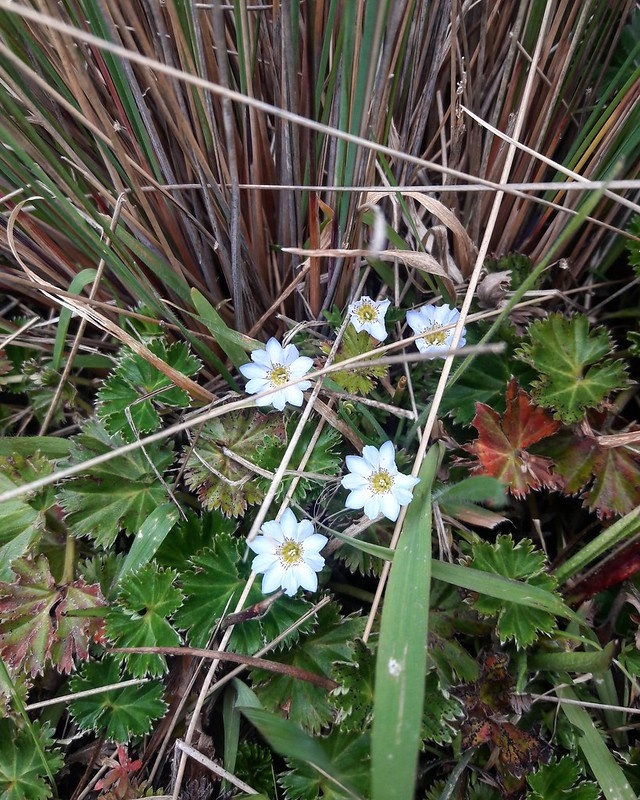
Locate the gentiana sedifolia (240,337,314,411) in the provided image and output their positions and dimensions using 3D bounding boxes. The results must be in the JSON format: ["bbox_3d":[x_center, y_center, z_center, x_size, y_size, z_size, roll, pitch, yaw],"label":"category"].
[{"bbox_3d":[-0.079,-0.048,1.338,0.156,0.061,0.146,-16,71,-2],"label":"gentiana sedifolia"}]

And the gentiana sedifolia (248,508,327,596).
[{"bbox_3d":[-0.063,0.267,1.185,0.150,0.066,0.157,-11,82,-5],"label":"gentiana sedifolia"}]

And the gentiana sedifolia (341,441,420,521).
[{"bbox_3d":[0.114,0.139,1.208,0.173,0.067,0.178,-9,19,35],"label":"gentiana sedifolia"}]

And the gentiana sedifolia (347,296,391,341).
[{"bbox_3d":[0.113,-0.183,1.404,0.102,0.046,0.094,24,62,15],"label":"gentiana sedifolia"}]
